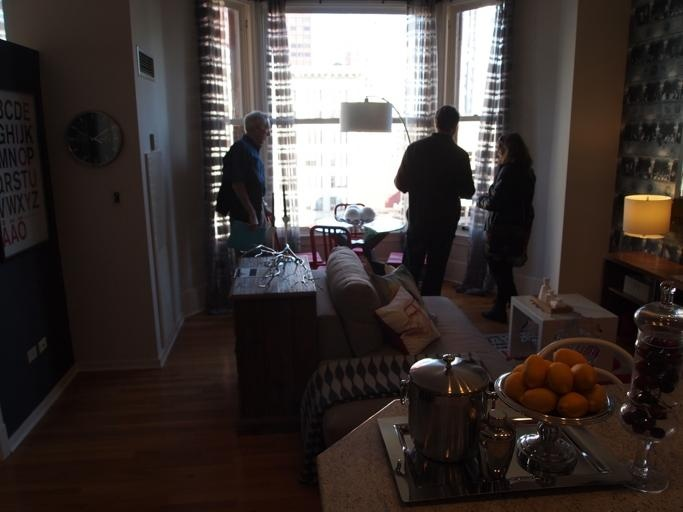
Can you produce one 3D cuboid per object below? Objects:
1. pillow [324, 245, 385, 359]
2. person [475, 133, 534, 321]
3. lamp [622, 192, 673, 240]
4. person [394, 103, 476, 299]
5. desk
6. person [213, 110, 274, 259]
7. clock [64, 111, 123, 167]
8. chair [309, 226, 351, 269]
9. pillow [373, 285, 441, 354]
[{"bbox_3d":[0.072,0.268,3.776,0.294,0.525,1.040,-9,16,-4],"label":"pillow"},{"bbox_3d":[1.564,-0.270,5.030,0.503,1.852,0.575,9,19,29],"label":"person"},{"bbox_3d":[2.449,-0.349,4.239,0.302,0.390,0.361,-3,10,1],"label":"lamp"},{"bbox_3d":[0.870,-0.547,4.968,0.606,2.126,0.630,-1,4,-10],"label":"person"},{"bbox_3d":[-0.410,0.560,3.981,0.684,1.342,1.347,-1,10,-3],"label":"desk"},{"bbox_3d":[-0.929,-0.661,4.967,0.574,1.492,0.511,0,3,-3],"label":"person"},{"bbox_3d":[-1.905,-0.907,3.969,0.410,0.411,0.051,0,12,-5],"label":"clock"},{"bbox_3d":[-0.132,-0.112,5.419,0.366,0.506,0.404,1,13,-9],"label":"chair"},{"bbox_3d":[0.434,0.449,3.433,0.110,0.395,0.355,-32,1,44],"label":"pillow"}]
